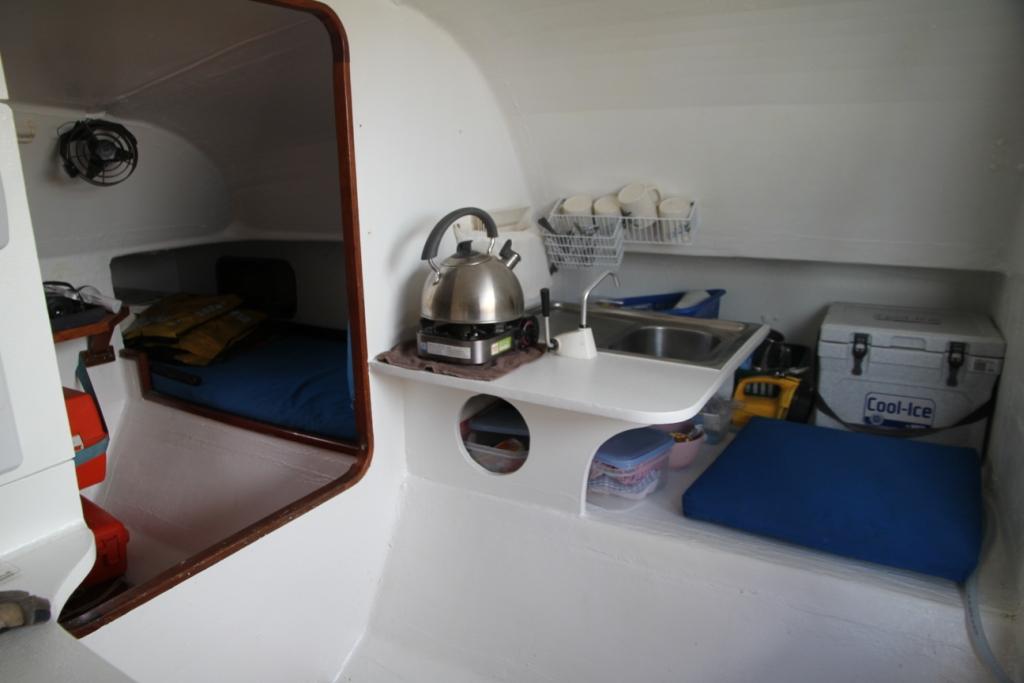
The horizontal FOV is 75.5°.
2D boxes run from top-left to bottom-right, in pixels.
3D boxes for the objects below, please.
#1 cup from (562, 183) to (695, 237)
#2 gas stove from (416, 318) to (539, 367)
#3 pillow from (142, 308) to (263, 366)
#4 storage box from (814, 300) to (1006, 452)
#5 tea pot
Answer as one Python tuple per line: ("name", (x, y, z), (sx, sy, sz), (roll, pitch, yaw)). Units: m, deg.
("cup", (0.427, -0.479, 2.446), (0.372, 0.126, 0.215), (8, 36, 22))
("gas stove", (-0.127, -0.013, 2.157), (0.320, 0.118, 0.377), (4, 12, 24))
("pillow", (-1.537, -0.033, 3.124), (0.351, 0.095, 0.412), (-4, 15, -4))
("storage box", (1.474, 0.125, 2.492), (0.568, 0.410, 0.550), (6, 17, 31))
("tea pot", (-0.130, -0.245, 2.123), (0.349, 0.360, 0.331), (-1, 13, 0))
